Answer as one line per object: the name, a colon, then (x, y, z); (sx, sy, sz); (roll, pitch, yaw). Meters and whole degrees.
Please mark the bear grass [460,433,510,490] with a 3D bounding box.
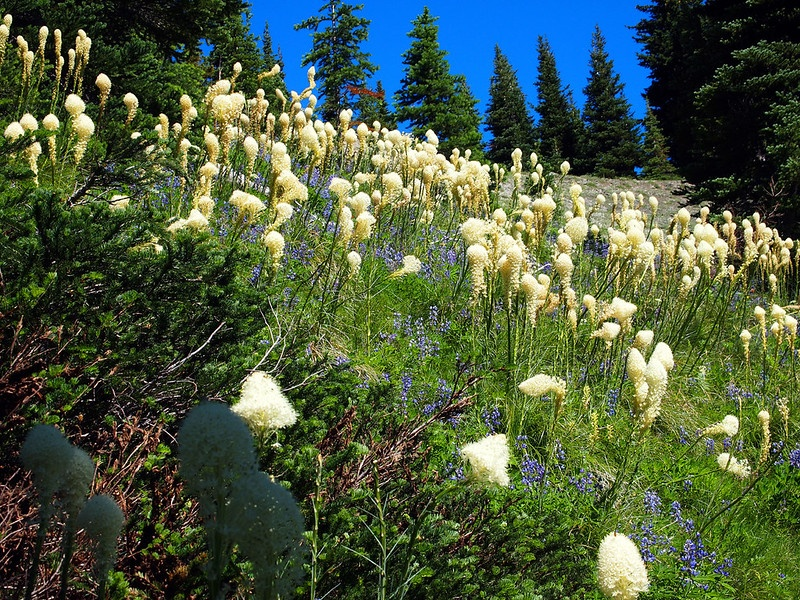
bear grass: (0.406, 0.777, 3.410); (0.221, 0.276, 0.127); (1, 9, -2)
